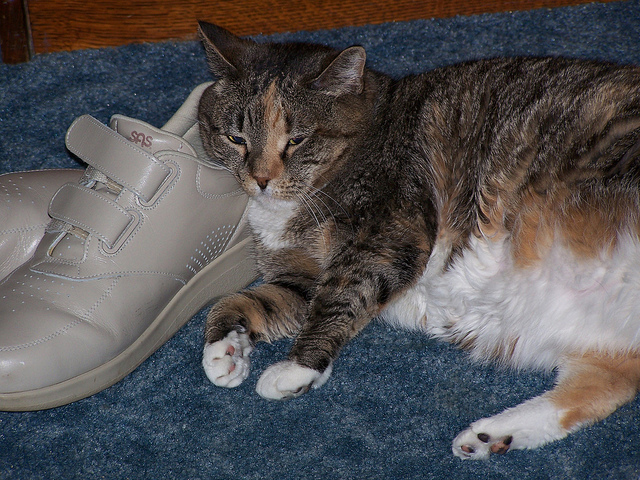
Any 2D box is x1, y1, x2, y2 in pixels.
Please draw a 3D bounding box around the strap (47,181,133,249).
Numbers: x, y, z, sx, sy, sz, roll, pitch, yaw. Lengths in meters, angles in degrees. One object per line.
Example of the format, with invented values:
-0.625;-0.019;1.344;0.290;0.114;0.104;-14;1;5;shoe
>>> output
-0.540;-0.060;1.546;0.200;0.053;0.120;29;84;-1;strap
